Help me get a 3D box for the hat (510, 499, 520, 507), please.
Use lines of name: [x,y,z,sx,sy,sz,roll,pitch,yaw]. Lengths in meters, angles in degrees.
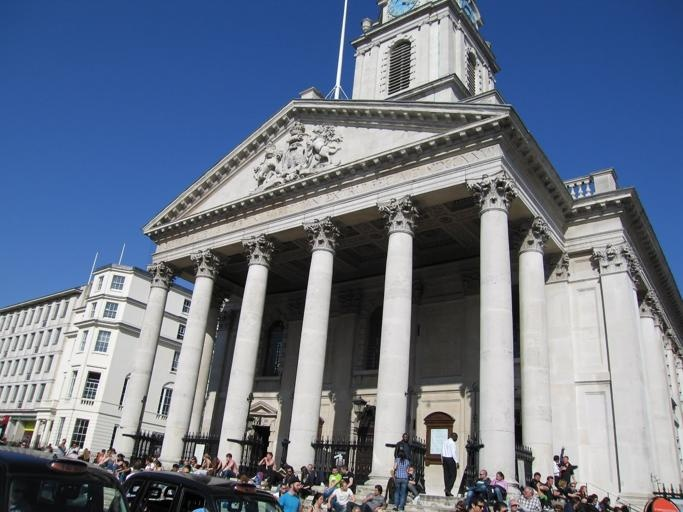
hat: [4.323,6.145,12.735,0.274,0.146,0.368,-4,-20,12]
